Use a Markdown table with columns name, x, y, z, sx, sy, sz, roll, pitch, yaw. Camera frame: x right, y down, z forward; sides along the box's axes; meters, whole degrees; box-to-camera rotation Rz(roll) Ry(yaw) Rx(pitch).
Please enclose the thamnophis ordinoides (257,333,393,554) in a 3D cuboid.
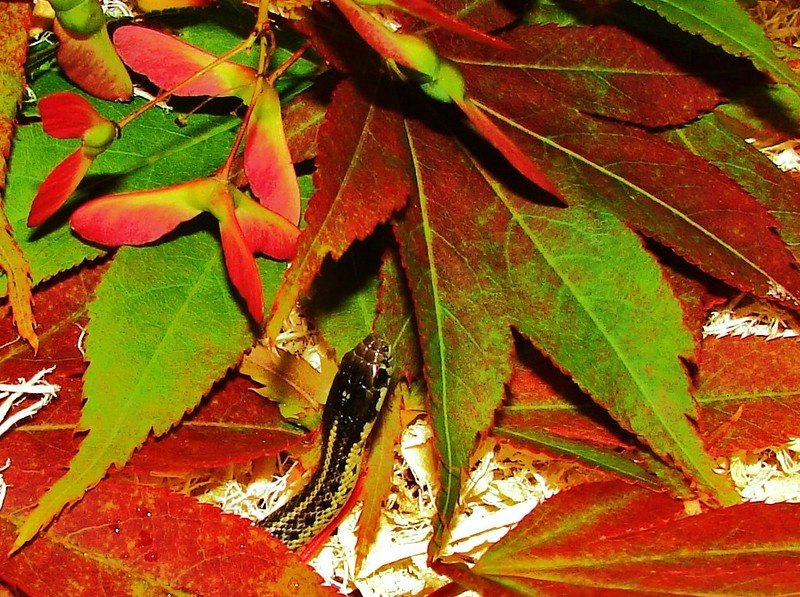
| name | x | y | z | sx | sy | sz | roll | pitch | yaw |
| --- | --- | --- | --- | --- | --- | --- | --- | --- | --- |
| thamnophis ordinoides | -0.119 | 0.296 | 1.347 | 0.140 | 0.073 | 0.458 | 22 | -70 | -2 |
